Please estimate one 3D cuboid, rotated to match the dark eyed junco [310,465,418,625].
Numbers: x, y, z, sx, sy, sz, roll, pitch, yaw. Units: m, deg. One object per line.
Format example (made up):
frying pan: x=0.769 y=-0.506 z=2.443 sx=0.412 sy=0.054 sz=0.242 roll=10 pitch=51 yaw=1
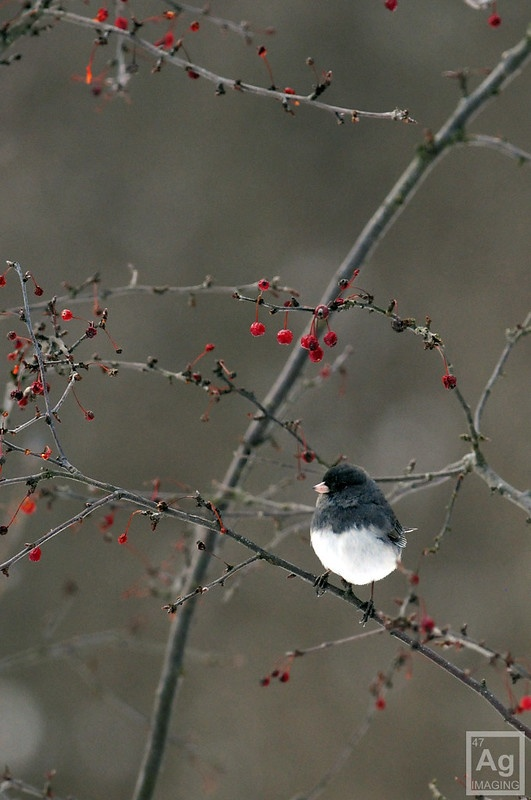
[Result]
dark eyed junco: x=0.497 y=0.612 z=4.349 sx=0.412 sy=0.663 sz=0.734 roll=6 pitch=6 yaw=40
